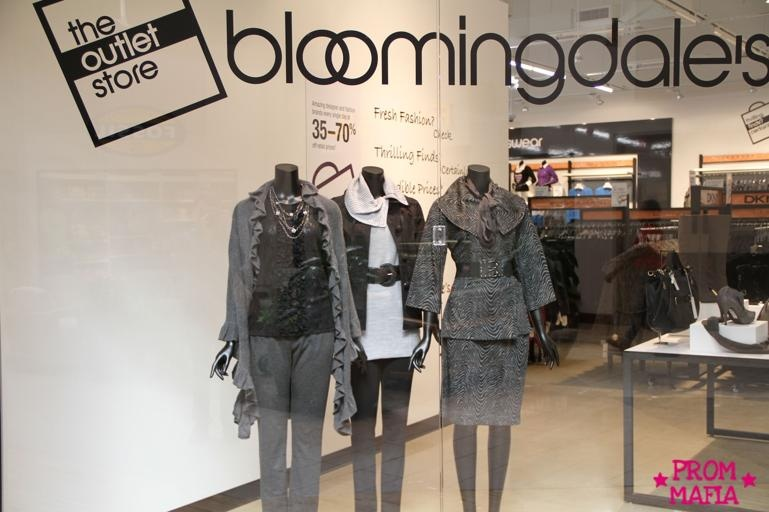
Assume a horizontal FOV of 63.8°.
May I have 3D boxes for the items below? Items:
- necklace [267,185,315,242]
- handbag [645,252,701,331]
[{"bbox_3d":[-0.491,-0.212,3.166,0.193,0.283,0.062,-2,-1,-17],"label":"necklace"},{"bbox_3d":[1.667,0.188,3.585,0.388,0.461,0.229,-10,8,-37],"label":"handbag"}]
